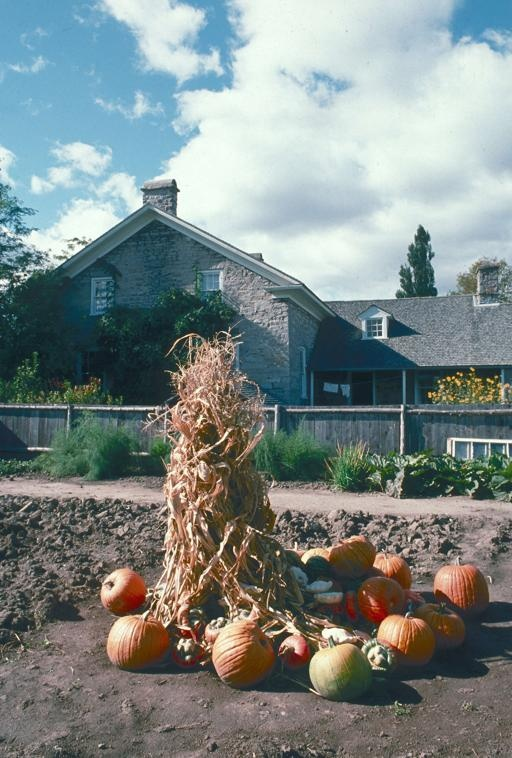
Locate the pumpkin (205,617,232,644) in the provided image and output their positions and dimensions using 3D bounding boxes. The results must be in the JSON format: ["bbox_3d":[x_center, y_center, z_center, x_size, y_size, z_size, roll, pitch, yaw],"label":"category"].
[{"bbox_3d":[-0.230,1.411,4.432,0.122,0.134,0.132,31,-36,-27],"label":"pumpkin"}]

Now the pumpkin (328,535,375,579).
[{"bbox_3d":[0.627,1.137,5.120,0.242,0.227,0.248,-31,-11,38],"label":"pumpkin"}]

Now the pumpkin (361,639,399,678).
[{"bbox_3d":[0.665,1.506,4.252,0.154,0.156,0.056,-8,-30,13],"label":"pumpkin"}]

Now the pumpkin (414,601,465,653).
[{"bbox_3d":[1.081,1.415,4.651,0.271,0.236,0.274,-7,22,-11],"label":"pumpkin"}]

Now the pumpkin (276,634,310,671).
[{"bbox_3d":[0.212,1.487,4.313,0.155,0.157,0.147,36,-16,37],"label":"pumpkin"}]

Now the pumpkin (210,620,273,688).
[{"bbox_3d":[-0.084,1.474,4.269,0.311,0.317,0.351,29,-54,-32],"label":"pumpkin"}]

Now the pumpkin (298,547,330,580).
[{"bbox_3d":[0.388,1.209,5.152,0.142,0.171,0.143,-4,-13,-14],"label":"pumpkin"}]

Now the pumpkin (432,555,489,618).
[{"bbox_3d":[1.323,1.309,5.080,0.313,0.288,0.304,7,14,34],"label":"pumpkin"}]

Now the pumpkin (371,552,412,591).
[{"bbox_3d":[0.876,1.244,5.174,0.238,0.281,0.234,-1,-31,-15],"label":"pumpkin"}]

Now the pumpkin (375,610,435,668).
[{"bbox_3d":[0.848,1.431,4.474,0.238,0.217,0.233,2,4,-8],"label":"pumpkin"}]

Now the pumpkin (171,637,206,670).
[{"bbox_3d":[-0.375,1.529,4.387,0.147,0.169,0.167,2,-9,-7],"label":"pumpkin"}]

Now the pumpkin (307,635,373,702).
[{"bbox_3d":[0.435,1.537,4.178,0.352,0.344,0.345,-12,-10,4],"label":"pumpkin"}]

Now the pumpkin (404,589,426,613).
[{"bbox_3d":[0.956,1.374,4.851,0.151,0.141,0.157,-3,-26,27],"label":"pumpkin"}]

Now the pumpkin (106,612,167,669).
[{"bbox_3d":[-0.667,1.513,4.545,0.364,0.331,0.367,15,-16,-19],"label":"pumpkin"}]

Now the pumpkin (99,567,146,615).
[{"bbox_3d":[-0.845,1.338,5.065,0.278,0.252,0.274,-10,6,-12],"label":"pumpkin"}]
